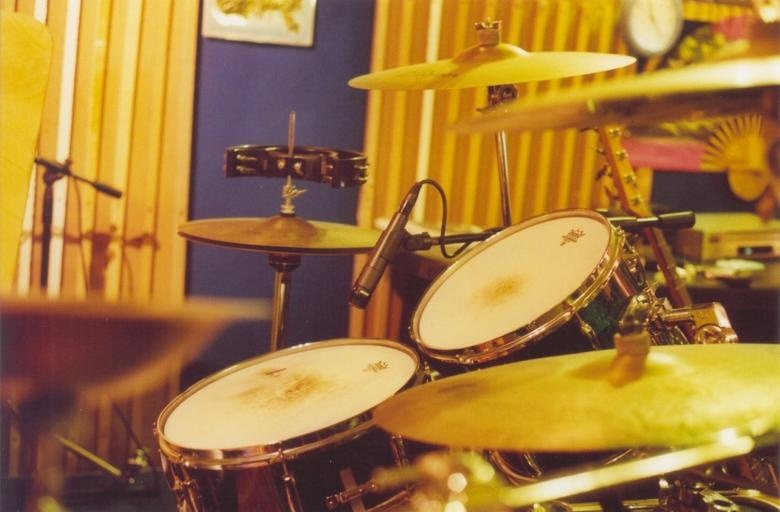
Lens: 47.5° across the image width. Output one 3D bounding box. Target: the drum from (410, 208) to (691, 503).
[{"bbox_3d":[0.379,0.265,2.521,0.797,0.575,0.659,-31,6,-14],"label":"drum"}]
